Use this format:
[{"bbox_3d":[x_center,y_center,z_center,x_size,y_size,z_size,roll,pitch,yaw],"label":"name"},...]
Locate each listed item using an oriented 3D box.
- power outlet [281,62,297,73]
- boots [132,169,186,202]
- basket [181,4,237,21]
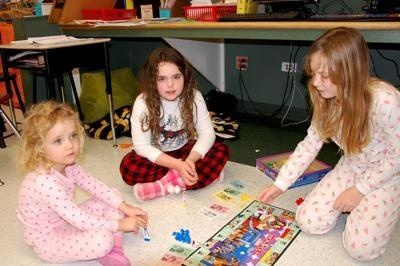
[{"bbox_3d":[0.938,-0.703,3.023,0.177,0.102,0.042,4,6,44],"label":"power outlet"},{"bbox_3d":[-0.282,0.363,1.982,0.324,0.126,0.160,-12,49,-21],"label":"boots"},{"bbox_3d":[0.088,-1.085,2.547,0.346,0.089,0.268,-1,17,4],"label":"basket"}]
